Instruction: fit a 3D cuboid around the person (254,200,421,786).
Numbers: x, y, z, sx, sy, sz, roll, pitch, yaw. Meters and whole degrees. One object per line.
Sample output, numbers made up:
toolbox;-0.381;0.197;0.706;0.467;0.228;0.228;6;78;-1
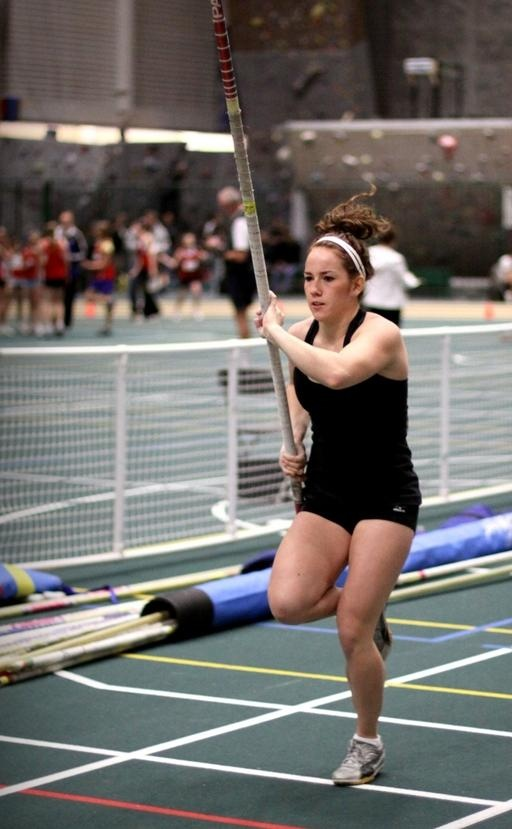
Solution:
person;0.245;0.205;2.656;0.459;1.789;0.486;0;3;-14

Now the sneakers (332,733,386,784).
sneakers;0.326;1.018;2.686;0.090;0.098;0.232;0;5;27
